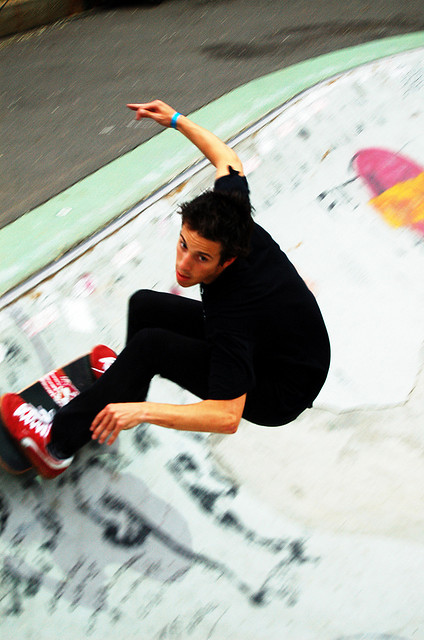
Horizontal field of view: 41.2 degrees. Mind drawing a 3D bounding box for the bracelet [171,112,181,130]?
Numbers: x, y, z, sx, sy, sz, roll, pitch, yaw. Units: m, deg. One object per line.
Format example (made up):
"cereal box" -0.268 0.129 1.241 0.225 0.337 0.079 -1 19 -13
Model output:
"bracelet" -0.150 -0.811 2.291 0.025 0.057 0.053 11 24 4
